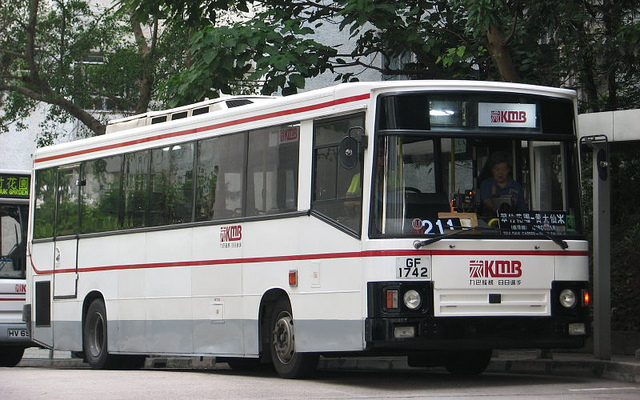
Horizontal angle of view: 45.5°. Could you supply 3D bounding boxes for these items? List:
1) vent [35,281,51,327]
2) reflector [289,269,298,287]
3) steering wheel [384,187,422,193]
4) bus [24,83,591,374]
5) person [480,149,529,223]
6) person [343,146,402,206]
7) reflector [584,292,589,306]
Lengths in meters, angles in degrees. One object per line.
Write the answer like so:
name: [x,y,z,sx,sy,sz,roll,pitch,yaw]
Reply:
vent: [-6.441,2.413,17.907,0.611,1.166,0.079,-6,-7,26]
reflector: [-0.448,1.313,12.917,0.180,0.297,0.032,-7,-7,42]
steering wheel: [1.277,-0.152,11.812,0.531,0.087,0.076,-1,-5,-10]
bus: [-1.380,0.645,15.534,12.651,5.504,3.165,-7,-7,41]
person: [2.937,-0.020,12.363,0.736,1.526,0.816,0,-3,-14]
person: [0.820,-0.350,12.206,0.703,0.947,0.358,4,-7,9]
reflector: [4.326,1.608,12.473,0.112,0.193,0.005,2,-6,-42]
